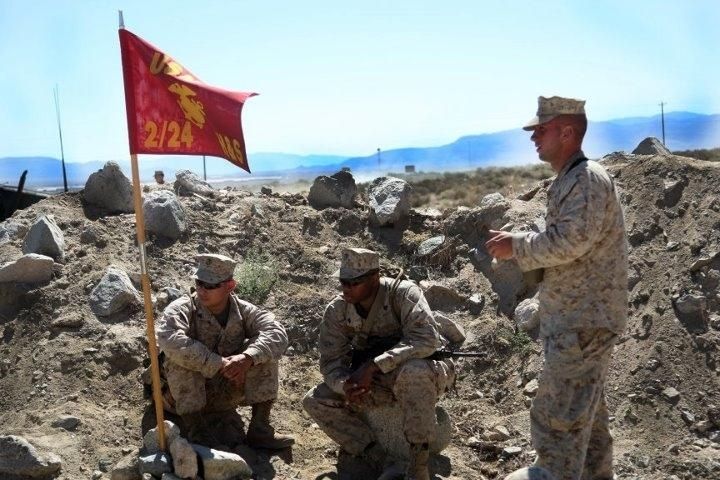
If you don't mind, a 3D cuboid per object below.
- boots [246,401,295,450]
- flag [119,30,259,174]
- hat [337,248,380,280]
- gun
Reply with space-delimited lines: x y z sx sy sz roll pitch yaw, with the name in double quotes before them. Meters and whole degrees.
"boots" -1.022 2.090 9.057 0.457 0.558 0.514 0 -1 2
"flag" -1.817 -1.416 8.096 1.209 1.345 0.292 0 0 -11
"hat" -0.020 0.246 8.602 0.402 0.240 0.283 -17 14 -42
"gun" 0.688 1.287 8.949 1.243 0.567 0.264 -2 40 25
